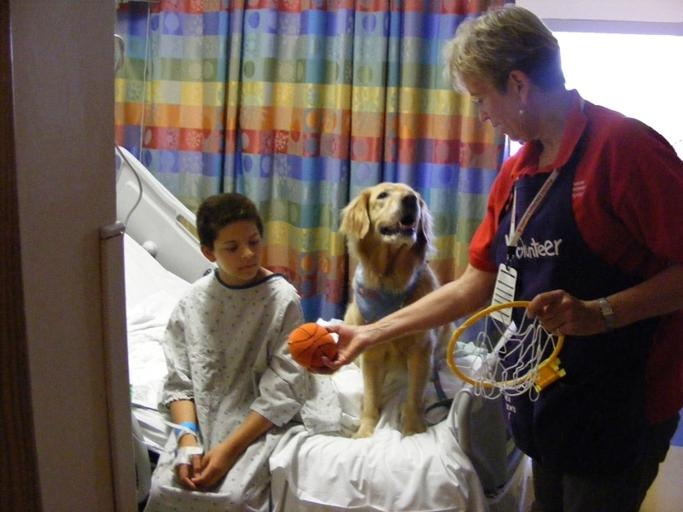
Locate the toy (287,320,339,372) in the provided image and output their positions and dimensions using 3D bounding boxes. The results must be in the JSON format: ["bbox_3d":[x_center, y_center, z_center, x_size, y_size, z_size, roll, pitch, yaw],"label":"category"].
[{"bbox_3d":[-0.084,0.278,2.004,0.127,0.145,0.103,6,52,14],"label":"toy"}]

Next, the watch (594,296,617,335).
[{"bbox_3d":[0.645,0.150,1.598,0.054,0.070,0.065,-11,-27,8],"label":"watch"}]

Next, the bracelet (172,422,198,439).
[{"bbox_3d":[-0.534,0.581,2.185,0.050,0.045,0.053,-1,-1,35],"label":"bracelet"}]

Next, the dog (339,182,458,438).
[{"bbox_3d":[0.233,0.238,2.838,0.437,1.045,0.972,0,-1,11],"label":"dog"}]
